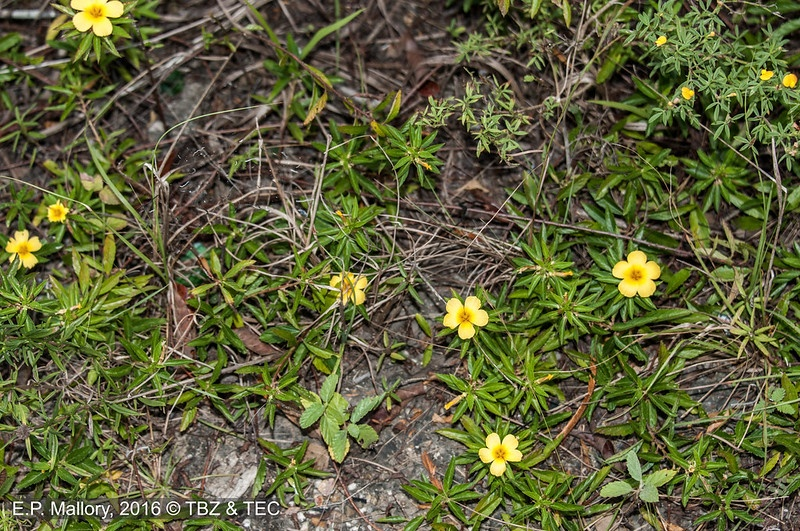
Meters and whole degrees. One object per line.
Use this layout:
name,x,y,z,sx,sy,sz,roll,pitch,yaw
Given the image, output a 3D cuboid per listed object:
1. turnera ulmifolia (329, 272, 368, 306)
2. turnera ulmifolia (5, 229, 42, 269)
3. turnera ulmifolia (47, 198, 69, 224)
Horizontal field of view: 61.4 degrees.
turnera ulmifolia,-0.324,0.122,4.331,0.202,0.080,0.222,-28,72,-12
turnera ulmifolia,-2.485,-0.098,4.478,0.207,0.170,0.198,26,63,6
turnera ulmifolia,-2.295,-0.354,4.572,0.134,0.058,0.144,24,77,8
